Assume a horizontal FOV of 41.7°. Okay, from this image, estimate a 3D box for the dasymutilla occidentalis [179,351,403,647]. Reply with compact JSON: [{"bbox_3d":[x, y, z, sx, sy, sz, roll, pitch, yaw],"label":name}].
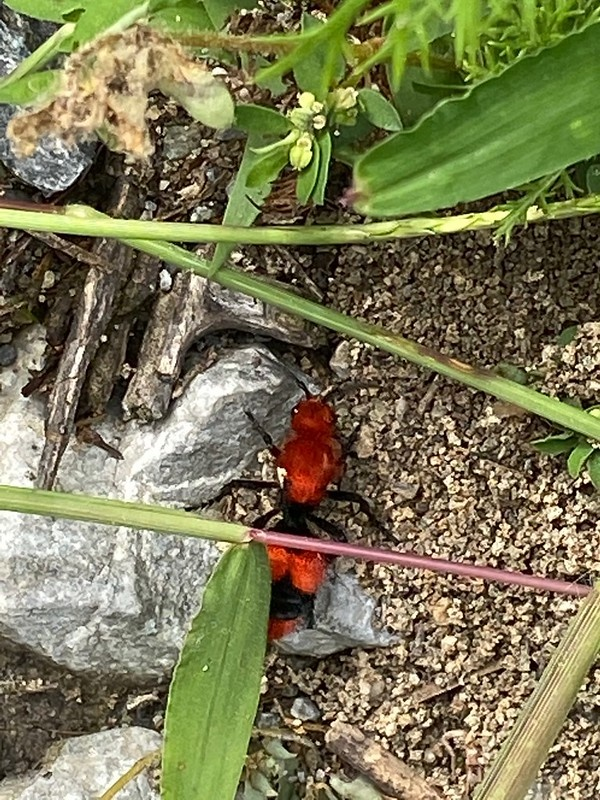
[{"bbox_3d":[-0.010,0.148,1.126,0.129,0.340,0.437,-3,79,61],"label":"dasymutilla occidentalis"}]
